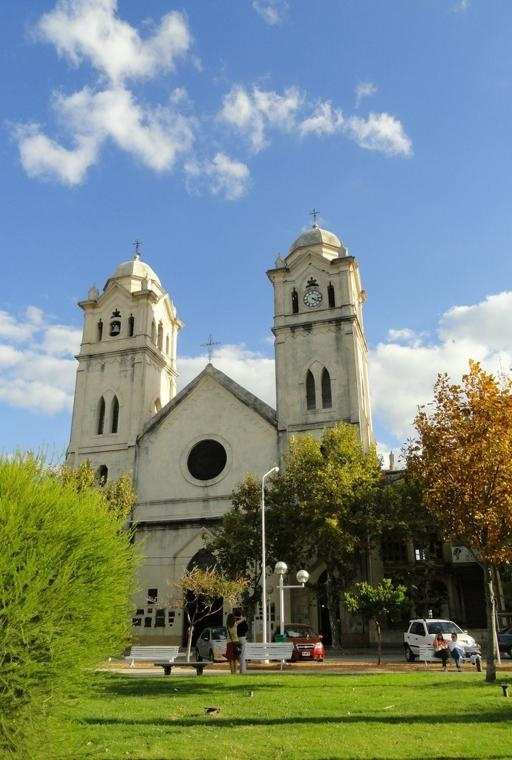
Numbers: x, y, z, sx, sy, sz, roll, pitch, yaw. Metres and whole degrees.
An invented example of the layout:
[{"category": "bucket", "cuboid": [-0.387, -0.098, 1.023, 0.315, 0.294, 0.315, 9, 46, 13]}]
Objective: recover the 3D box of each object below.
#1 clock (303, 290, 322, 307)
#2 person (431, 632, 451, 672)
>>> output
[{"category": "clock", "cuboid": [3.602, -5.104, 40.430, 1.021, 0.986, 0.142, -20, -33, -6]}, {"category": "person", "cuboid": [5.588, 8.272, 19.423, 0.412, 0.982, 1.287, -5, -17, 12]}]
